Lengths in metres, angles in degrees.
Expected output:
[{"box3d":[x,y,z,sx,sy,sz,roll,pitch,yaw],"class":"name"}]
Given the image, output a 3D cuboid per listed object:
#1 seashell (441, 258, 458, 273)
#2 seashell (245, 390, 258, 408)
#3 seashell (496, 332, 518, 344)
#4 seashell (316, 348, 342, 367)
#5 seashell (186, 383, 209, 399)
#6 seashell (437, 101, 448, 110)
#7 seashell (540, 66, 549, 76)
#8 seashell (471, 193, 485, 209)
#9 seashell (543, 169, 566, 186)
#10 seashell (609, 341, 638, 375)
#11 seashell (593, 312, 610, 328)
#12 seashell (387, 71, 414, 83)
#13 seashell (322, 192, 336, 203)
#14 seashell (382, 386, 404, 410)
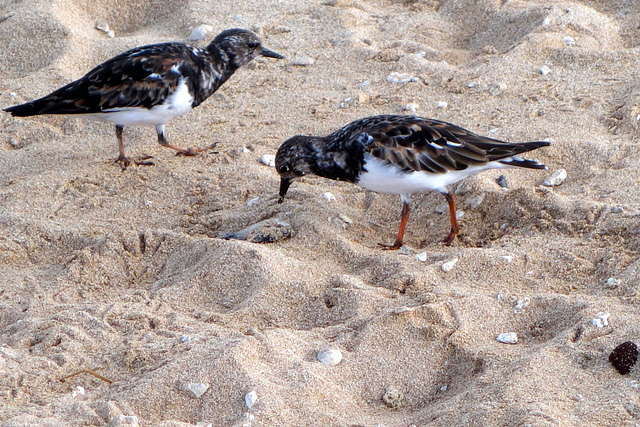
[{"box3d":[1.260,0.509,8.606,0.157,0.063,0.090,-39,86,-16],"class":"seashell"},{"box3d":[-0.576,1.559,7.434,0.093,0.024,0.154,22,65,13],"class":"seashell"},{"box3d":[1.686,1.113,7.905,0.144,0.044,0.096,1,33,8],"class":"seashell"},{"box3d":[0.091,1.257,7.730,0.196,0.048,0.161,21,65,12],"class":"seashell"},{"box3d":[-1.022,1.503,7.476,0.178,0.055,0.125,-2,63,1],"class":"seashell"},{"box3d":[1.515,-1.340,10.948,0.091,0.045,0.103,2,24,12],"class":"seashell"},{"box3d":[2.859,-1.805,11.186,0.120,0.034,0.124,-24,65,-10],"class":"seashell"},{"box3d":[1.687,-0.134,9.421,0.125,0.040,0.172,3,50,42],"class":"seashell"},{"box3d":[2.521,-0.379,9.465,0.226,0.074,0.143,-47,42,-15],"class":"seashell"},{"box3d":[2.594,1.222,7.520,0.242,0.069,0.254,36,90,33],"class":"seashell"},{"box3d":[2.482,0.932,7.792,0.103,0.048,0.154,11,34,11],"class":"seashell"},{"box3d":[1.044,-1.776,11.605,0.235,0.045,0.175,17,29,38],"class":"seashell"},{"box3d":[0.097,-0.183,9.788,0.108,0.026,0.109,-18,48,-25],"class":"seashell"},{"box3d":[0.629,1.598,7.624,0.183,0.055,0.181,30,68,16],"class":"seashell"}]
